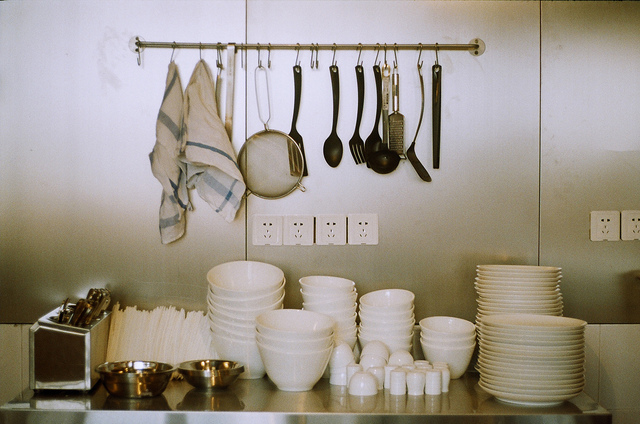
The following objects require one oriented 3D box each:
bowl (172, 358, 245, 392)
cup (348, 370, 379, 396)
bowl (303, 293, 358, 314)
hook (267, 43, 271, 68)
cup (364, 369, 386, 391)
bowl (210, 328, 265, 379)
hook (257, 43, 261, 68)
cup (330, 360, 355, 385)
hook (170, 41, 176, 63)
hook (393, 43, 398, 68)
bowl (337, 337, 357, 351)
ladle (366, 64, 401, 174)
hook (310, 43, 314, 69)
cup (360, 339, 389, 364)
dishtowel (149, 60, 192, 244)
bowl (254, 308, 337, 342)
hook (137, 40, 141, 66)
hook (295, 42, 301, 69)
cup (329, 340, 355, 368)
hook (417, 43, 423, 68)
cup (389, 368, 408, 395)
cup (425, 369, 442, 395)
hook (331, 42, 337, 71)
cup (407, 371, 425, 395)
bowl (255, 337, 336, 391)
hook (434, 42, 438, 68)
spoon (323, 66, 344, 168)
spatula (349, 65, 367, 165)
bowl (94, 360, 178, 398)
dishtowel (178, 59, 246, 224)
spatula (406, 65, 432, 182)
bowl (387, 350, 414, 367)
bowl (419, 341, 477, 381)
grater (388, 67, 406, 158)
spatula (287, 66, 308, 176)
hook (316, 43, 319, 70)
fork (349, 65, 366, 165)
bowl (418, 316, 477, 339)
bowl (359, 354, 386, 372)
[{"bbox_3d":[-0.460,0.650,2.243,0.330,0.101,0.140,0,5,11],"label":"bowl"},{"bbox_3d":[0.168,0.670,2.202,0.131,0.077,0.129,2,-11,0],"label":"cup"},{"bbox_3d":[0.042,0.389,2.329,0.105,0.043,0.103,-14,-11,-3],"label":"bowl"},{"bbox_3d":[-0.227,-0.702,2.502,0.014,0.108,0.012,-1,5,-3],"label":"hook"},{"bbox_3d":[0.218,0.657,2.189,0.076,0.074,0.075,-1,0,0],"label":"cup"},{"bbox_3d":[-0.324,0.579,2.312,0.180,0.125,0.184,0,-6,0],"label":"bowl"},{"bbox_3d":[-0.273,-0.698,2.495,0.012,0.101,0.018,0,5,11],"label":"hook"},{"bbox_3d":[0.088,0.654,2.291,0.087,0.086,0.081,0,-2,0],"label":"cup"},{"bbox_3d":[-0.655,-0.717,2.492,0.031,0.088,0.013,11,12,8],"label":"hook"},{"bbox_3d":[0.341,-0.704,2.504,0.024,0.097,0.022,-1,2,29],"label":"hook"},{"bbox_3d":[0.124,0.540,2.309,0.051,0.037,0.051,0,-4,0],"label":"bowl"},{"bbox_3d":[0.292,-0.398,2.420,0.151,0.446,0.138,4,4,14],"label":"ladle"},{"bbox_3d":[-0.037,-0.697,2.504,0.018,0.108,0.012,-1,5,-1],"label":"hook"},{"bbox_3d":[0.223,0.570,2.249,0.085,0.068,0.086,4,-32,2],"label":"cup"},{"bbox_3d":[-0.609,-0.245,2.449,0.125,0.698,0.212,1,7,8],"label":"dishtowel"},{"bbox_3d":[-0.103,0.457,2.193,0.272,0.074,0.285,1,8,0],"label":"bowl"},{"bbox_3d":[-0.803,-0.711,2.493,0.019,0.113,0.008,0,5,7],"label":"hook"},{"bbox_3d":[-0.099,-0.703,2.501,0.027,0.115,0.028,-1,5,-3],"label":"hook"},{"bbox_3d":[0.090,0.570,2.241,0.088,0.091,0.094,-4,0,0],"label":"cup"},{"bbox_3d":[0.445,-0.703,2.515,0.031,0.113,0.021,-3,3,-40],"label":"hook"},{"bbox_3d":[0.305,0.663,2.218,0.080,0.088,0.082,1,2,0],"label":"cup"},{"bbox_3d":[0.426,0.666,2.195,0.077,0.089,0.078,1,-1,0],"label":"cup"},{"bbox_3d":[0.065,-0.698,2.504,0.020,0.120,0.025,-1,5,-1],"label":"hook"},{"bbox_3d":[0.369,0.662,2.161,0.079,0.078,0.077,1,-2,0],"label":"cup"},{"bbox_3d":[-0.112,0.585,2.155,0.210,0.132,0.214,1,-6,0],"label":"bowl"},{"bbox_3d":[0.519,-0.702,2.509,0.013,0.111,0.035,0,5,8],"label":"hook"},{"bbox_3d":[0.058,-0.427,2.509,0.092,0.451,0.032,-1,5,2],"label":"spoon"},{"bbox_3d":[0.163,-0.437,2.492,0.089,0.388,0.069,1,6,-4],"label":"spatula"},{"bbox_3d":[-0.706,0.658,2.214,0.278,0.112,0.278,1,-3,0],"label":"bowl"},{"bbox_3d":[-0.458,-0.306,2.431,0.231,0.646,0.281,1,4,-9],"label":"dishtowel"},{"bbox_3d":[0.440,-0.364,2.446,0.129,0.448,0.056,2,3,2],"label":"spatula"},{"bbox_3d":[0.322,0.586,2.247,0.064,0.076,0.065,1,-7,0],"label":"bowl"},{"bbox_3d":[0.525,0.591,2.263,0.161,0.107,0.163,0,-4,0],"label":"bowl"},{"bbox_3d":[0.338,-0.426,2.486,0.056,0.366,0.076,3,6,41],"label":"grater"},{"bbox_3d":[-0.104,-0.406,2.490,0.087,0.487,0.054,-3,5,-20],"label":"spatula"},{"bbox_3d":[-0.012,-0.698,2.504,0.011,0.098,0.011,-1,5,0],"label":"hook"},{"bbox_3d":[0.165,-0.435,2.499,0.072,0.436,0.040,-2,5,-8],"label":"fork"},{"bbox_3d":[0.534,0.478,2.328,0.115,0.047,0.118,-2,-2,0],"label":"bowl"},{"bbox_3d":[0.209,0.600,2.229,0.066,0.051,0.071,0,-15,0],"label":"bowl"}]
